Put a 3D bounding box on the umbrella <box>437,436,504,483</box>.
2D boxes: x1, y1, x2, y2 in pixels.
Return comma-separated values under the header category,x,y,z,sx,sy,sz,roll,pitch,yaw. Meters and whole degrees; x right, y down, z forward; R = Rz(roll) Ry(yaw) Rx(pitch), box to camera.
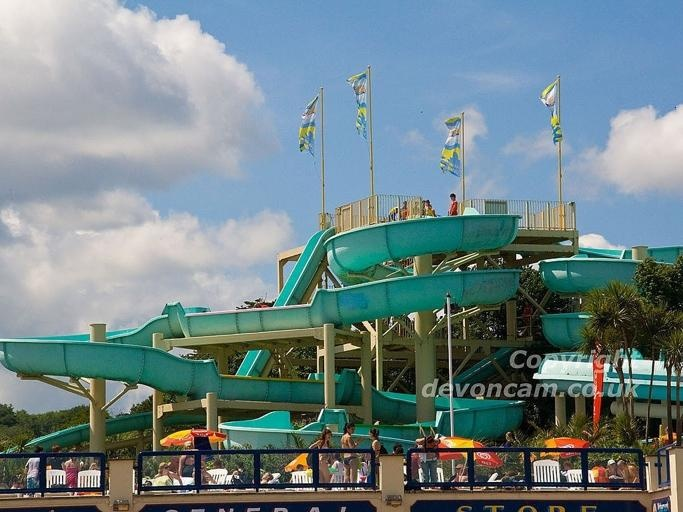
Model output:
category,x,y,z,sx,sy,sz,roll,pitch,yaw
umbrella,2.934,4.662,36.889,0.945,0.665,0.978,-1,4,-30
